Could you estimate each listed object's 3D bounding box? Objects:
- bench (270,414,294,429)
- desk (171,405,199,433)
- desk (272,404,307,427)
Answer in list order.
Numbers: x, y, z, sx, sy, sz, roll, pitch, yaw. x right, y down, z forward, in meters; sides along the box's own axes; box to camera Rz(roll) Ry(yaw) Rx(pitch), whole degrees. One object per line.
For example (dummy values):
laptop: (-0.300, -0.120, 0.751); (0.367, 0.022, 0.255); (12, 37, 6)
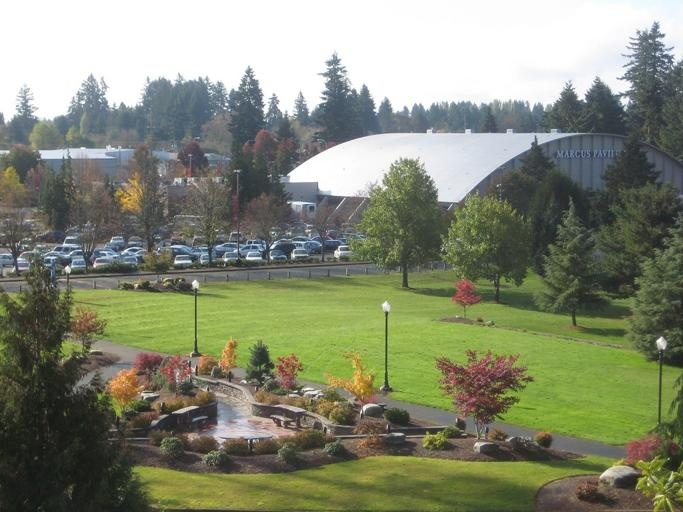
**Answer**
bench: (-4.711, 13.004, 120.807); (2.030, 0.876, 0.972); (-1, 2, 17)
desk: (-12.207, 12.668, 120.092); (0.986, 1.603, 2.316); (1, 3, 43)
desk: (-4.136, 12.596, 120.955); (1.769, 1.017, 1.918); (3, -1, -35)
